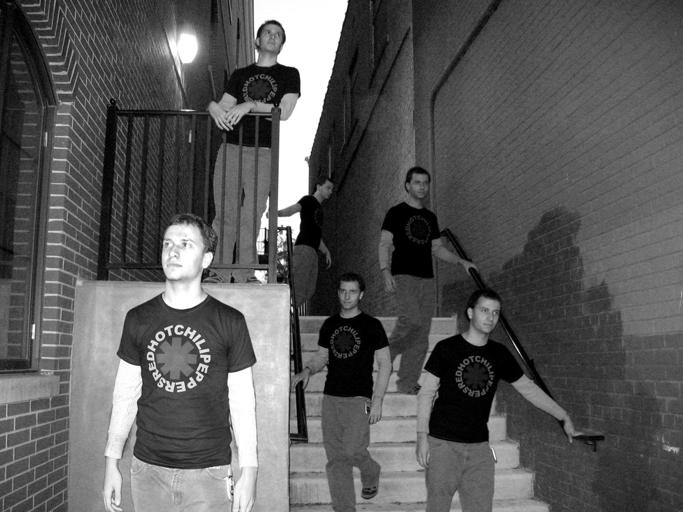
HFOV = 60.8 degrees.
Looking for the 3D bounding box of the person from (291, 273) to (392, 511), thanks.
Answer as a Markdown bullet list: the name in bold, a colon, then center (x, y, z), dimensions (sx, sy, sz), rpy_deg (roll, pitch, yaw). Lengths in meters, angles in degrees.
- **person**: center (0.055, 1.197, 5.262), dimensions (0.762, 2.090, 0.585), rpy_deg (-1, -3, 6)
